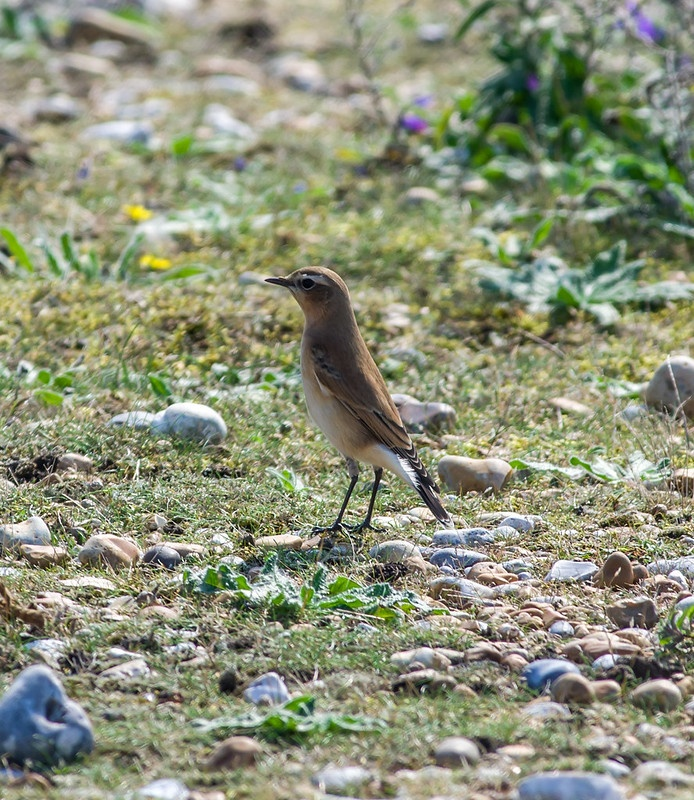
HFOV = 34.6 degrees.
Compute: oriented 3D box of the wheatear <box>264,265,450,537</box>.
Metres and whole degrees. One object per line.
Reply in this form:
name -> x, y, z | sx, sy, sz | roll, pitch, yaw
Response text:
wheatear -> 0.022, -0.044, 5.200 | 0.481, 1.223, 1.101 | -6, 4, -15
